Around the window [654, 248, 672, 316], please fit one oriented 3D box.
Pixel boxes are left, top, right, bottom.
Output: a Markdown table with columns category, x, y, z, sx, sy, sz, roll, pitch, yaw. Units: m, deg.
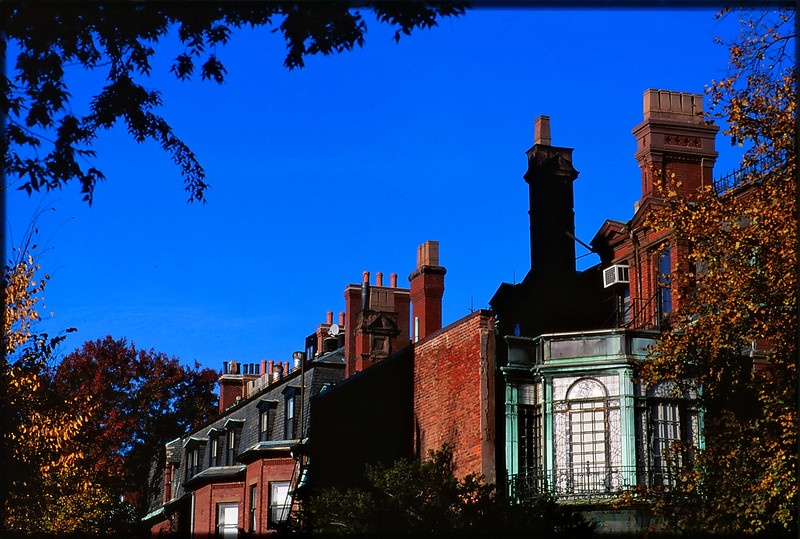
| category | x | y | z | sx | sy | sz | roll | pitch | yaw |
| --- | --- | --- | --- | --- | --- | --- | --- | --- | --- |
| window | 9.198 | 0.540 | 55.797 | 0.721 | 2.977 | 0.124 | 0 | -2 | -37 |

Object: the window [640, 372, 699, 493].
| category | x | y | z | sx | sy | sz | roll | pitch | yaw |
| --- | --- | --- | --- | --- | --- | --- | --- | --- | --- |
| window | 8.301 | 5.035 | 49.536 | 1.989 | 3.570 | 3.429 | -5 | -17 | 9 |

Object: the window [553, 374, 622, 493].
| category | x | y | z | sx | sy | sz | roll | pitch | yaw |
| --- | --- | --- | --- | --- | --- | --- | --- | --- | --- |
| window | 5.877 | 5.281 | 50.719 | 2.197 | 3.732 | 0.261 | -7 | -17 | 16 |

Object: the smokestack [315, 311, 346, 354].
| category | x | y | z | sx | sy | sz | roll | pitch | yaw |
| --- | --- | --- | --- | --- | --- | --- | --- | --- | --- |
| smokestack | -2.812 | 2.976 | 71.465 | 1.560 | 2.098 | 1.499 | 1 | -4 | -6 |

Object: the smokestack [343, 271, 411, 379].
| category | x | y | z | sx | sy | sz | roll | pitch | yaw |
| --- | --- | --- | --- | --- | --- | --- | --- | --- | --- |
| smokestack | -1.029 | 2.822 | 63.617 | 2.861 | 5.791 | 2.032 | 5 | -17 | -13 |

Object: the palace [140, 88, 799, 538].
| category | x | y | z | sx | sy | sz | roll | pitch | yaw |
| --- | --- | --- | --- | --- | --- | --- | --- | --- | --- |
| palace | 0.727 | 5.023 | 64.088 | 10.284 | 12.570 | 34.801 | 8 | -20 | -21 |
